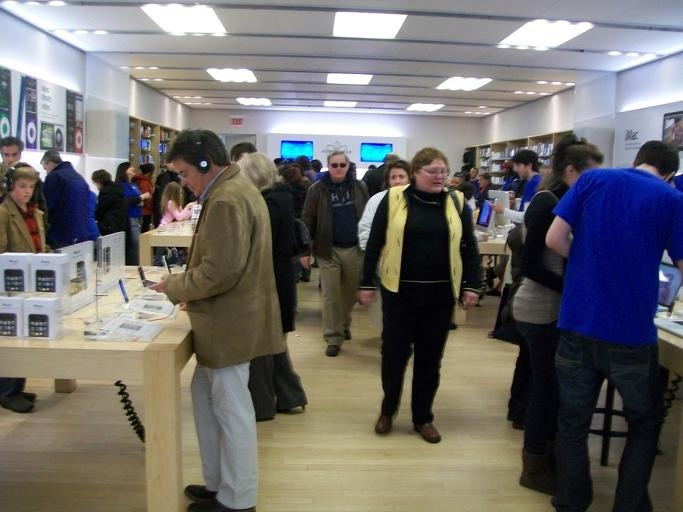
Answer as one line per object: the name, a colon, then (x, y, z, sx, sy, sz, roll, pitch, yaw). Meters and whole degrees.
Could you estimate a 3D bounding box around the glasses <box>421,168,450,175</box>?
glasses: (0.593, -0.502, 3.206, 0.206, 0.044, 0.131, -9, 15, -44)

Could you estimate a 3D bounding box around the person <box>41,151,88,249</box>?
person: (-2.836, -0.590, 5.596, 0.434, 0.945, 0.786, -4, 12, -27)

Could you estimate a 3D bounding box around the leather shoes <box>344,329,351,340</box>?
leather shoes: (0.058, 0.776, 5.312, 0.076, 0.088, 0.225, 0, -8, 4)

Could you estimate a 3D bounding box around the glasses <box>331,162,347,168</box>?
glasses: (-0.022, -0.788, 4.727, 0.133, 0.050, 0.062, 0, 11, -7)

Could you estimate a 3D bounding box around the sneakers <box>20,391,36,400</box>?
sneakers: (-2.186, 0.984, 3.795, 0.115, 0.049, 0.039, 9, 3, -1)

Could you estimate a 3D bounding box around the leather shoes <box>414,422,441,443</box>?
leather shoes: (0.551, 1.139, 3.478, 0.072, 0.078, 0.196, -4, -3, -19)

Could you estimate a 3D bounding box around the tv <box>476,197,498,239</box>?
tv: (1.687, -0.451, 6.201, 0.162, 0.369, 0.374, 2, 9, -8)

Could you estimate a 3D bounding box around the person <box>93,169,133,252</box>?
person: (-2.950, -0.695, 7.163, 0.456, 1.094, 0.364, 3, -18, -10)

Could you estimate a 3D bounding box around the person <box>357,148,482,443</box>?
person: (0.481, 0.259, 3.339, 0.741, 1.821, 0.310, 2, 10, 0)

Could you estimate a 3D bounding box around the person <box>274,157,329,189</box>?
person: (-0.458, -0.836, 5.364, 0.616, 0.315, 0.793, 4, 6, -5)

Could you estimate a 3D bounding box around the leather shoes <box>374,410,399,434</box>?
leather shoes: (0.299, 1.090, 3.560, 0.067, 0.133, 0.197, 3, 2, 14)

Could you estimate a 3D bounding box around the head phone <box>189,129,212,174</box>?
head phone: (-0.654, -0.480, 2.491, 0.072, 0.213, 0.187, -10, 3, -2)

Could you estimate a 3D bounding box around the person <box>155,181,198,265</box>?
person: (-2.180, -0.447, 6.982, 0.385, 1.094, 0.361, -2, 33, -36)

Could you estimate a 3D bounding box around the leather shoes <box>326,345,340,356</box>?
leather shoes: (-0.077, 0.852, 4.853, 0.080, 0.068, 0.175, 1, -5, -1)

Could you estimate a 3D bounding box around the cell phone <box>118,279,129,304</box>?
cell phone: (-1.255, 0.208, 3.098, 0.022, 0.130, 0.035, 8, 17, 36)
